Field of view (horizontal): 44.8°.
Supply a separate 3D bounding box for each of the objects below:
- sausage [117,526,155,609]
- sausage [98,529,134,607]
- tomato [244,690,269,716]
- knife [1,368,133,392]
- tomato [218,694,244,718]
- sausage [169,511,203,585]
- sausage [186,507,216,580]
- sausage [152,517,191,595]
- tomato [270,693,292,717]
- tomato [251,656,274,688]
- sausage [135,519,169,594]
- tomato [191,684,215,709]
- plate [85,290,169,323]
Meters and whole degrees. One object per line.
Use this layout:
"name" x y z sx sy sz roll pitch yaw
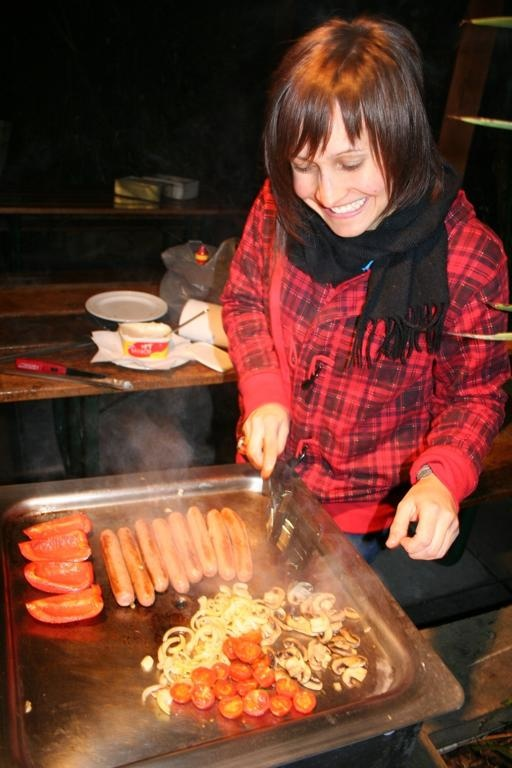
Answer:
"sausage" -0.284 0.415 1.424 0.049 0.051 0.243 -6 33 -19
"sausage" -0.317 0.412 1.398 0.047 0.058 0.224 -22 36 -7
"tomato" 0.000 0.595 1.158 0.049 0.022 0.049 1 28 -1
"knife" -0.758 -0.012 2.414 0.381 0.051 0.042 7 11 -1
"tomato" -0.047 0.595 1.149 0.047 0.018 0.048 -2 28 -7
"sausage" -0.179 0.389 1.510 0.050 0.056 0.205 1 35 -17
"sausage" -0.139 0.384 1.543 0.053 0.051 0.195 -10 48 -20
"sausage" -0.206 0.405 1.523 0.049 0.056 0.239 3 29 -23
"tomato" 0.045 0.598 1.158 0.041 0.022 0.044 3 28 1
"tomato" 0.011 0.574 1.234 0.039 0.029 0.052 -2 5 3
"sausage" -0.250 0.402 1.511 0.046 0.053 0.229 4 31 -25
"tomato" -0.101 0.586 1.166 0.043 0.028 0.046 -2 28 -7
"plate" -0.639 -0.375 3.018 0.252 0.035 0.246 -1 35 -16
